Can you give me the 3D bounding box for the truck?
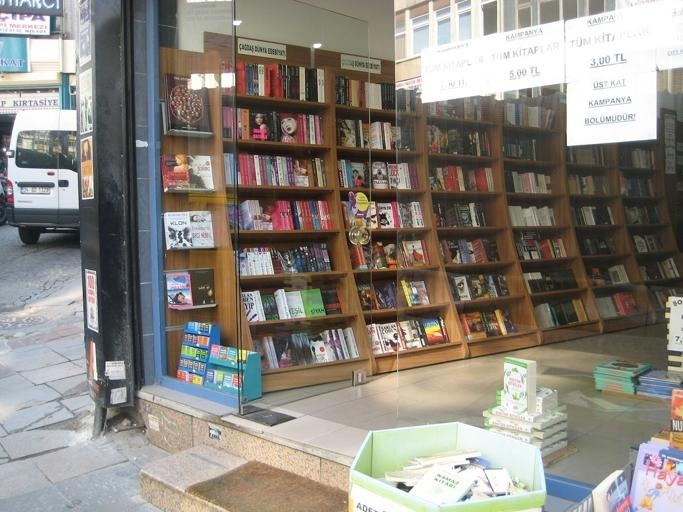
[{"bbox_3d":[-5.002,-1.445,8.488,1.176,1.975,0.492,-6,8,-20],"label":"truck"}]
